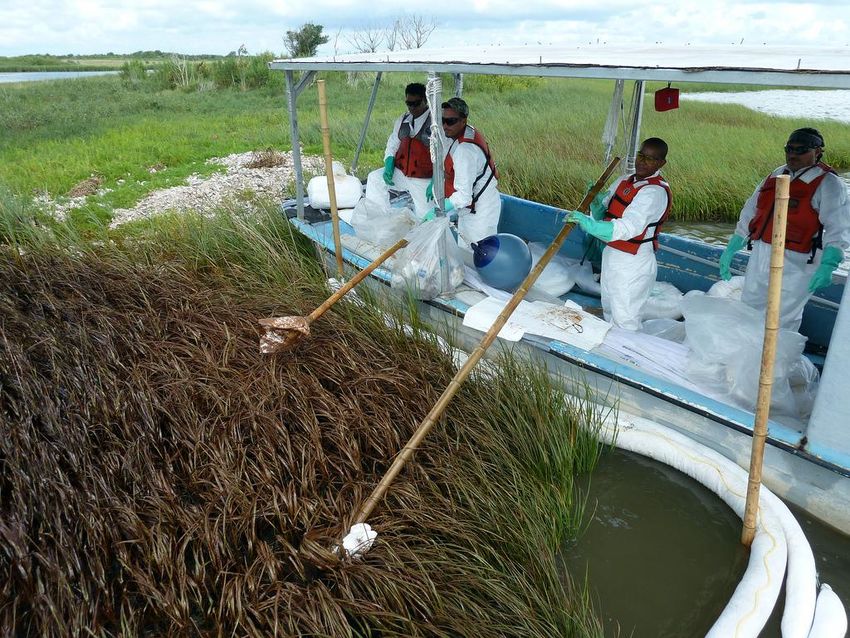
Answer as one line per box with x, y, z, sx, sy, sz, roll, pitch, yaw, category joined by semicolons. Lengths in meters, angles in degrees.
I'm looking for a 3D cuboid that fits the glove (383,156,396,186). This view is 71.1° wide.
-0.430;-1.811;7.364;0.083;0.306;0.221;6;-17;10;glove

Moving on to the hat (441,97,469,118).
0.323;-2.093;5.901;0.196;0.150;0.287;27;0;25;hat

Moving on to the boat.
1.338;-1.185;6.166;6.186;2.941;3.906;20;31;36;boat

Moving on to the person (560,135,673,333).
1.753;-0.650;5.575;0.813;2.122;0.754;2;42;12;person

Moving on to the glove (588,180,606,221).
1.652;-1.114;5.782;0.145;0.385;0.278;6;4;7;glove
